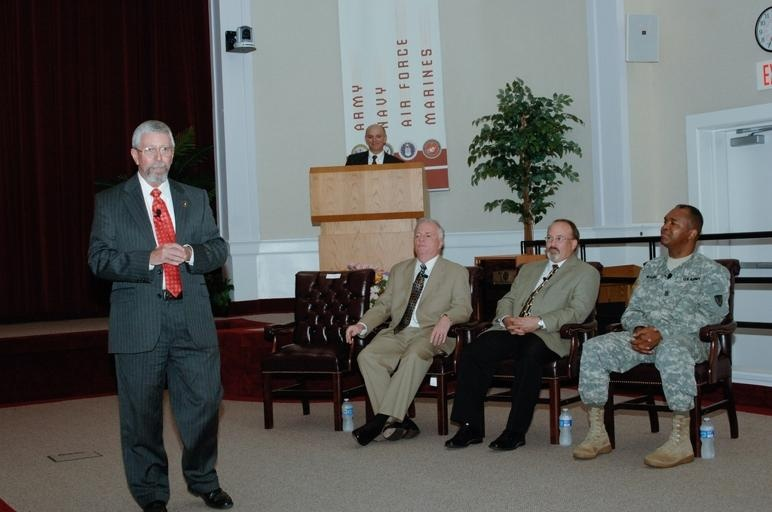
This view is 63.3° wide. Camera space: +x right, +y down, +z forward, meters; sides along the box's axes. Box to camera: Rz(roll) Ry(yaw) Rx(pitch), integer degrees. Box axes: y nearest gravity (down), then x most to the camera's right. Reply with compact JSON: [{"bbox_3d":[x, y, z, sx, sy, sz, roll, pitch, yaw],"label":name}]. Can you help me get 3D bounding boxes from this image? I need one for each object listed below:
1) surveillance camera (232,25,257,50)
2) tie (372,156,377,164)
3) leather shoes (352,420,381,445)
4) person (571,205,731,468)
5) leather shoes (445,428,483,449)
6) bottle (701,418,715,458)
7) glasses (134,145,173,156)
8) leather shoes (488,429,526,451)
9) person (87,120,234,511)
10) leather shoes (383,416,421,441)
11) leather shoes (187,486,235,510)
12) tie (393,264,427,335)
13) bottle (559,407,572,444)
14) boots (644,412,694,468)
[{"bbox_3d":[-1.854,-2.840,8.208,0.280,0.361,0.275,-2,3,-41],"label":"surveillance camera"},{"bbox_3d":[-0.114,-0.933,6.168,0.031,0.136,0.037,-1,-17,16],"label":"tie"},{"bbox_3d":[-0.142,1.344,4.780,0.229,0.131,0.082,-21,12,-36],"label":"leather shoes"},{"bbox_3d":[1.947,0.527,4.598,1.122,1.780,0.756,-5,5,-40],"label":"person"},{"bbox_3d":[0.594,1.374,4.787,0.313,0.171,0.122,2,-6,-30],"label":"leather shoes"},{"bbox_3d":[2.271,1.283,4.423,0.092,0.267,0.163,0,4,27],"label":"bottle"},{"bbox_3d":[-1.377,-0.626,3.715,0.217,0.054,0.103,-4,4,-24],"label":"glasses"},{"bbox_3d":[0.919,1.373,4.672,0.236,0.110,0.129,1,-5,-35],"label":"leather shoes"},{"bbox_3d":[-1.352,0.394,3.809,0.782,2.425,0.389,-3,4,-24],"label":"person"},{"bbox_3d":[0.132,1.358,5.014,0.363,0.135,0.148,5,26,-33],"label":"leather shoes"},{"bbox_3d":[-1.107,1.518,3.970,0.292,0.142,0.120,2,2,29],"label":"leather shoes"},{"bbox_3d":[0.239,0.337,5.311,0.174,0.726,0.105,19,-6,15],"label":"tie"},{"bbox_3d":[1.368,1.291,4.772,0.086,0.264,0.186,0,4,19],"label":"bottle"},{"bbox_3d":[1.940,1.297,4.435,0.484,0.424,0.206,0,-4,-35],"label":"boots"}]
